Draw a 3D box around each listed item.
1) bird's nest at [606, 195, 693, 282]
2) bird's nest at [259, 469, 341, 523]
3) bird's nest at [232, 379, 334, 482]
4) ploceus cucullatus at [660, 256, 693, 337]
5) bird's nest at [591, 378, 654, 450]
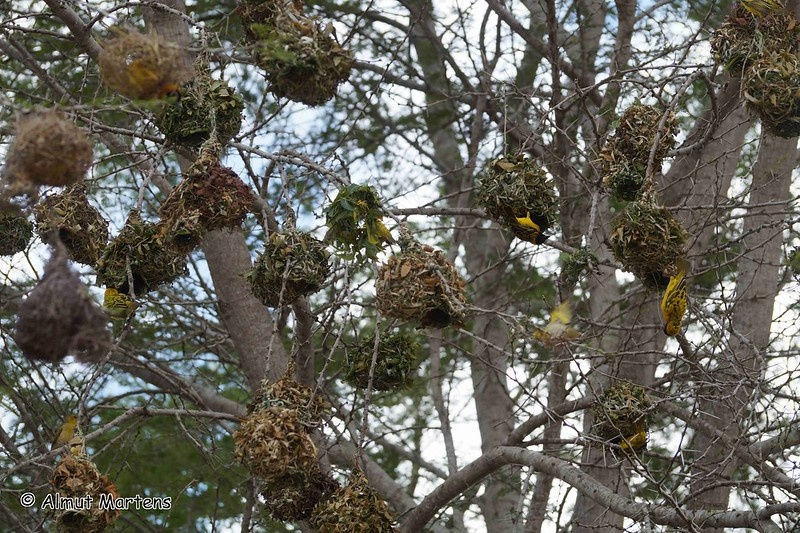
[{"bbox_3d":[1.642,-0.162,10.953,0.572,0.553,0.554,0,-9,4],"label":"bird's nest"},{"bbox_3d":[-0.655,1.559,10.783,0.437,0.239,0.371,-4,-2,-19],"label":"bird's nest"},{"bbox_3d":[-0.766,1.052,10.548,0.609,0.642,0.336,43,-17,32],"label":"bird's nest"},{"bbox_3d":[1.748,0.213,10.682,0.180,0.228,0.533,12,-52,13],"label":"ploceus cucullatus"},{"bbox_3d":[1.493,1.048,11.032,0.463,0.432,0.448,3,-20,-5],"label":"bird's nest"}]
